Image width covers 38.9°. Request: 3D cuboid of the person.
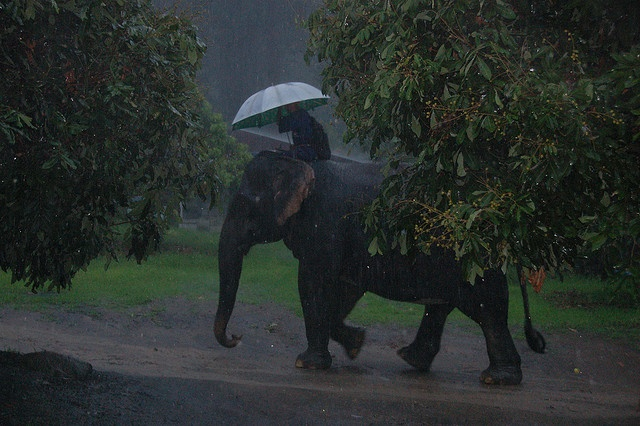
[{"bbox_3d":[-0.272,-1.174,13.419,0.801,0.962,0.774,0,2,1],"label":"person"}]
